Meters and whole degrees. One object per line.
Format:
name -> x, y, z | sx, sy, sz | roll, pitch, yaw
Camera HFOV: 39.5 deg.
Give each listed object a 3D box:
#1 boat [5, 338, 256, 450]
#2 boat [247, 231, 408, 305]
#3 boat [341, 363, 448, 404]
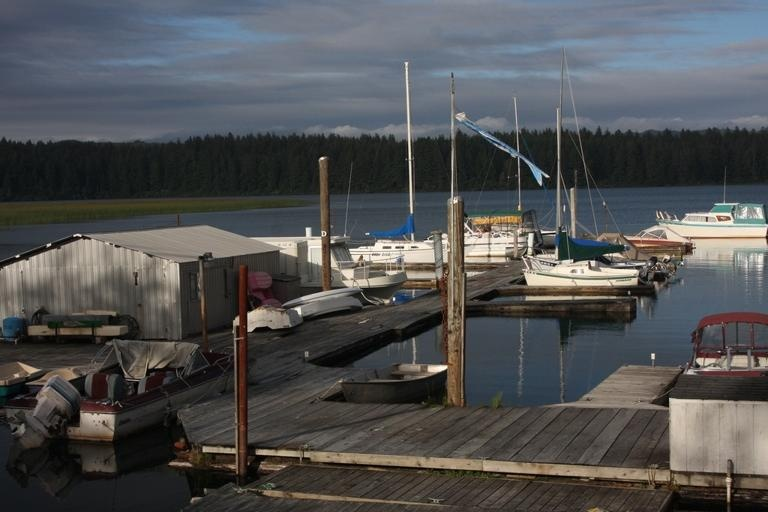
boat -> -7.519, 4.557, 32.934 | 3.272, 1.864, 5.726 | 3, 11, 34
boat -> -2.181, 0.444, 47.812 | 6.307, 2.222, 3.063 | 1, -1, 8
boat -> 0.250, 4.084, 33.560 | 1.473, 1.107, 3.680 | -1, 1, 41
